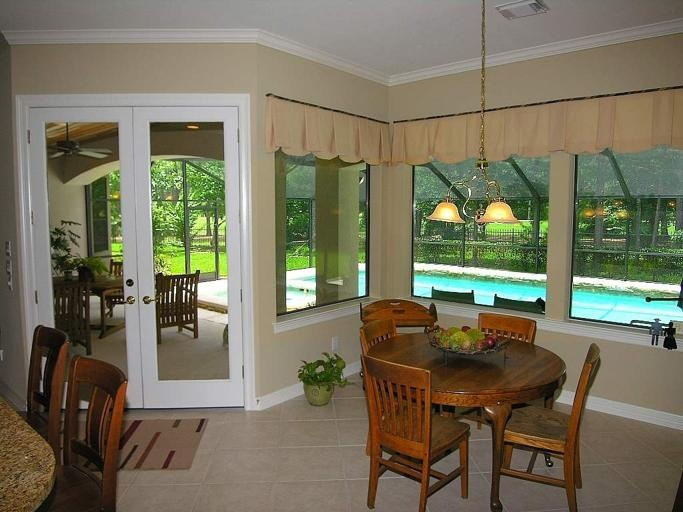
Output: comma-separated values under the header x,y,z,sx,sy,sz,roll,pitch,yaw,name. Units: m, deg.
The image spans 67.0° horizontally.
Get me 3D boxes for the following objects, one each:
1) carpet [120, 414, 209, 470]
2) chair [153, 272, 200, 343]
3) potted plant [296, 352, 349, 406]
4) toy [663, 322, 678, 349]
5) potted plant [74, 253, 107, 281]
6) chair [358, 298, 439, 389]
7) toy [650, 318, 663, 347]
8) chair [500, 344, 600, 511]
x,y,z,sx,sy,sz,roll,pitch,yaw,name
-1.608,1.632,4.527,0.734,0.186,0.719,-3,4,-4,carpet
-1.683,0.504,5.180,0.406,0.626,0.411,-3,0,-26,chair
-0.179,1.282,5.354,0.433,0.497,0.519,4,-3,-4,potted plant
3.083,0.740,4.824,0.105,0.238,0.143,0,5,32,toy
-2.392,0.091,4.929,0.245,0.173,0.243,1,8,-4,potted plant
0.617,0.699,5.606,0.821,0.606,0.505,0,27,2,chair
2.990,0.710,4.875,0.108,0.240,0.132,0,5,31,toy
1.593,1.252,3.944,0.696,1.190,0.687,-1,5,26,chair
